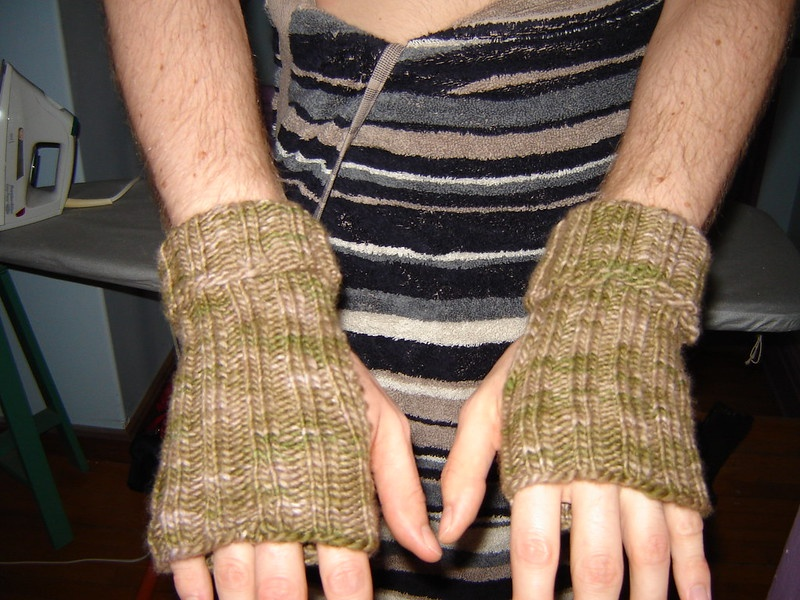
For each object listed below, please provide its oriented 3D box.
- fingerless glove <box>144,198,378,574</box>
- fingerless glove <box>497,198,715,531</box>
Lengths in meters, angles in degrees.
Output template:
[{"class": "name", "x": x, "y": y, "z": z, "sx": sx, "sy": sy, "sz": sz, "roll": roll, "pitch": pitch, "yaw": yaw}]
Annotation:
[{"class": "fingerless glove", "x": -0.215, "y": 0.137, "z": 1.162, "sx": 0.356, "sy": 0.468, "sz": 0.368, "roll": 1, "pitch": 34, "yaw": -3}, {"class": "fingerless glove", "x": 0.350, "y": 0.083, "z": 1.180, "sx": 0.341, "sy": 0.382, "sz": 0.339, "roll": 5, "pitch": 34, "yaw": 3}]
